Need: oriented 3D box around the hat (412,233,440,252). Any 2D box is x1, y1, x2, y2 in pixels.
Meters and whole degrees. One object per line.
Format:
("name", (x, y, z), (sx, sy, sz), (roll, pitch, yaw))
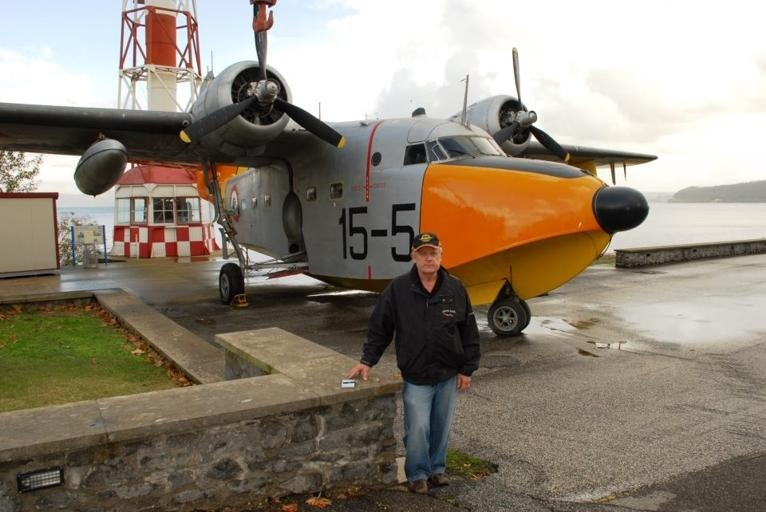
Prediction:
("hat", (0.449, -0.144, 5.392), (0.256, 0.166, 0.281), (2, 10, 8))
